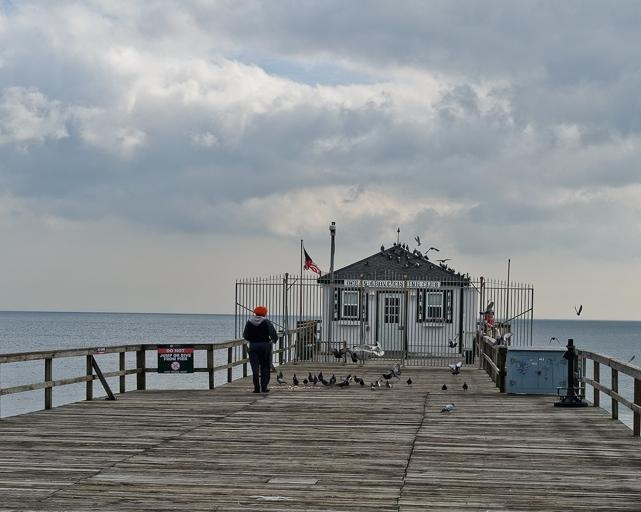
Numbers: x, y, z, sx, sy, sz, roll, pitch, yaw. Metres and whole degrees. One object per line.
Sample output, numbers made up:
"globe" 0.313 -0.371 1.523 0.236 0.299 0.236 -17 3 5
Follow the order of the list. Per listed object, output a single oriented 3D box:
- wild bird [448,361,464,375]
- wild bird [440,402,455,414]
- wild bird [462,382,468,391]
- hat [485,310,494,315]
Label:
"wild bird" 3.710 3.084 29.146 0.408 0.305 0.213 10 15 -39
"wild bird" 2.395 2.828 19.841 0.116 0.175 0.392 0 2 31
"wild bird" 3.190 2.879 23.509 0.126 0.135 0.186 -3 -29 13
"hat" 5.011 1.694 31.564 0.157 0.230 0.387 -1 -6 19
